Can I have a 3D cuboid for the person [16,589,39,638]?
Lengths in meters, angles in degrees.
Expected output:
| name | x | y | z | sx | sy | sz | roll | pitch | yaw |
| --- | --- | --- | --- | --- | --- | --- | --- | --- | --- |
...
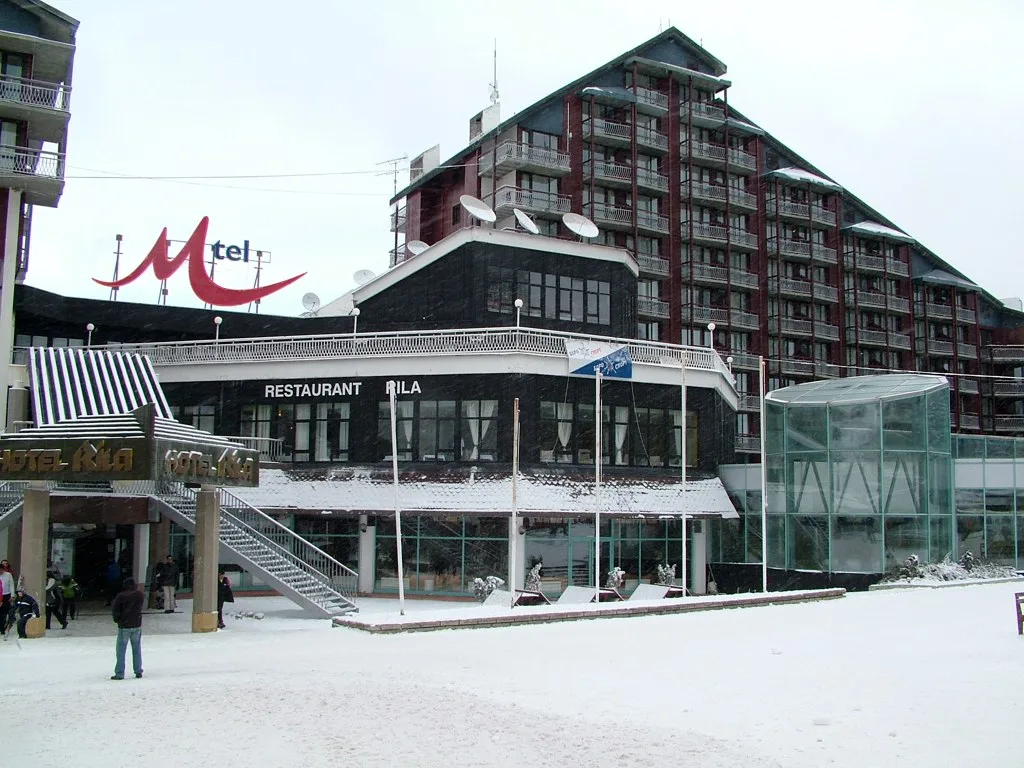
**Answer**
| name | x | y | z | sx | sy | sz | roll | pitch | yaw |
| --- | --- | --- | --- | --- | --- | --- | --- | --- | --- |
| person | -13.979 | 6.651 | 30.936 | 0.551 | 1.295 | 0.535 | 1 | -9 | -15 |
